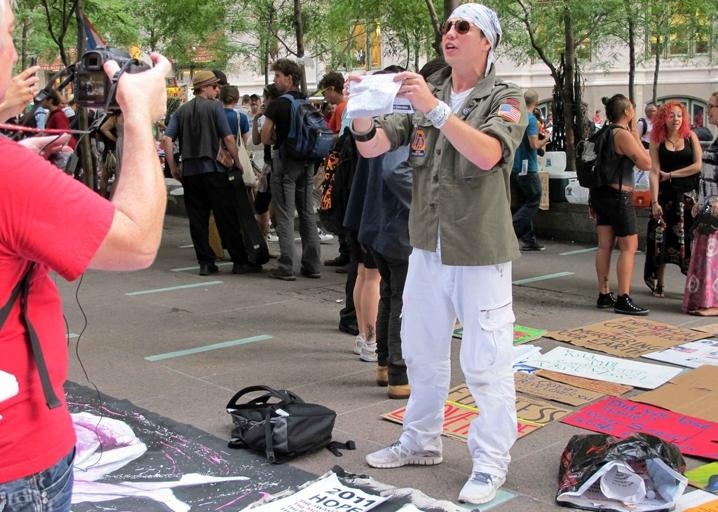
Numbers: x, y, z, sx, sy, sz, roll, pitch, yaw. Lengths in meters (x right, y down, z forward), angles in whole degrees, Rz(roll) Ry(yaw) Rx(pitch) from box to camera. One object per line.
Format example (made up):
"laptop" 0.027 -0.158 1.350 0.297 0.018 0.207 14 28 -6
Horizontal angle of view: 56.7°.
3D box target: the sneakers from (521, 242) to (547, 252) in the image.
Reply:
"sneakers" 2.856 -0.147 10.968 0.447 0.161 0.147 0 5 -4

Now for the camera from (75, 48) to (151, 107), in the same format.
"camera" -0.798 -0.570 2.100 0.265 0.160 0.252 6 16 8

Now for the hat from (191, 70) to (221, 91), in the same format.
"hat" -2.175 -2.470 9.288 0.357 0.286 0.460 -4 5 -11

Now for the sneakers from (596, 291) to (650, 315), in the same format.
"sneakers" 2.926 0.519 7.401 0.609 0.204 0.204 8 14 34

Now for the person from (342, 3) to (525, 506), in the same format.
"person" 0.493 -0.029 3.686 0.804 2.683 0.765 1 7 35

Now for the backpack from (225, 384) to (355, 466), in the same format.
"backpack" -0.496 1.047 4.242 0.767 0.377 0.532 2 7 39

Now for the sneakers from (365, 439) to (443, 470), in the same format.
"sneakers" 0.274 1.199 4.065 0.489 0.165 0.167 1 4 -6

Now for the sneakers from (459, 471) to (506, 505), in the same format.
"sneakers" 0.676 1.251 3.630 0.118 0.105 0.278 1 1 41
